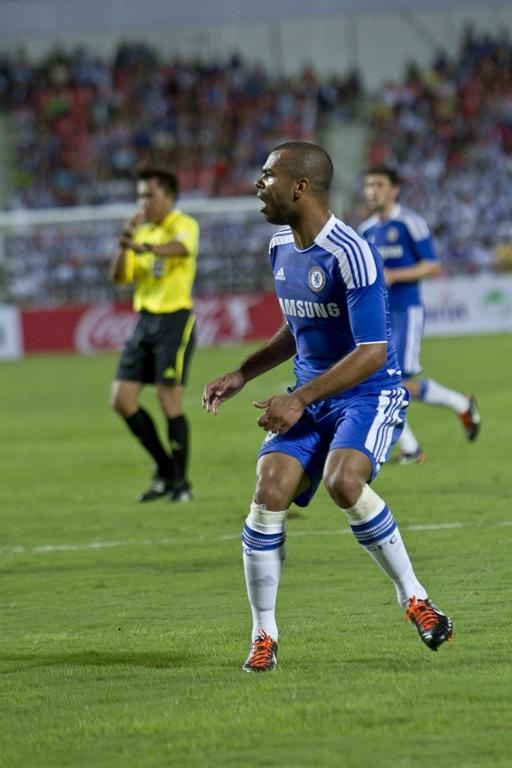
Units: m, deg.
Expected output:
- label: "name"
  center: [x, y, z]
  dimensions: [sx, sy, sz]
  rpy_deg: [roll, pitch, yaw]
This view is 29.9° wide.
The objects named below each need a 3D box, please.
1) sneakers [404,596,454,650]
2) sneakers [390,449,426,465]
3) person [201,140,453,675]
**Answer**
- label: "sneakers"
  center: [0.507, 0.700, 2.862]
  dimensions: [0.103, 0.073, 0.203]
  rpy_deg: [33, 5, -18]
- label: "sneakers"
  center: [1.103, 0.508, 6.782]
  dimensions: [0.280, 0.099, 0.091]
  rpy_deg: [-4, 4, -16]
- label: "person"
  center: [0.209, 0.066, 2.959]
  dimensions: [0.731, 1.608, 0.762]
  rpy_deg: [-2, 15, -4]
